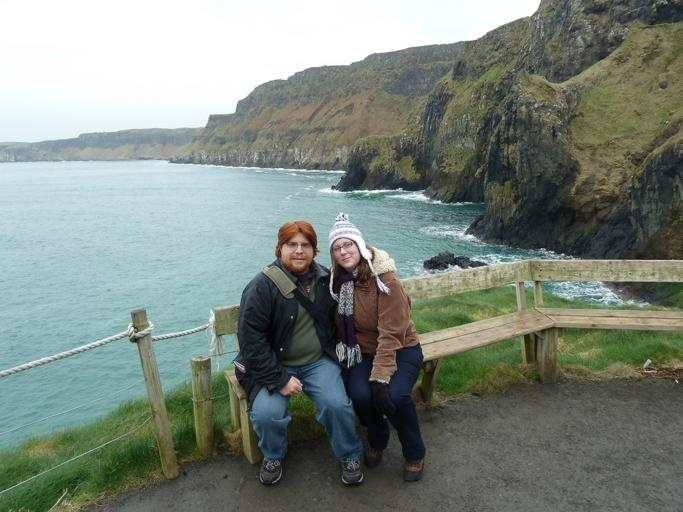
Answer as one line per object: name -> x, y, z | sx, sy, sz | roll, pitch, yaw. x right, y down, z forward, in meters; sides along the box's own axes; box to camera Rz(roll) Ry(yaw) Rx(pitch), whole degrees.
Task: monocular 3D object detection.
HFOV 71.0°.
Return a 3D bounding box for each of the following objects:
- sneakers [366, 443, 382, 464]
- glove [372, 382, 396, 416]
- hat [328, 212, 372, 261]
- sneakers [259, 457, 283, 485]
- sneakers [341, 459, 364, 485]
sneakers -> 0.406, 2.665, 6.367 | 0.119, 0.289, 0.267 | -5, 27, 2
glove -> 0.526, 1.833, 6.062 | 0.267, 0.467, 0.190 | -2, 14, -8
hat -> 0.032, -0.211, 6.656 | 0.581, 0.645, 0.615 | -18, -11, 16
sneakers -> -0.914, 2.786, 6.144 | 0.257, 0.292, 0.157 | 1, 14, 2
sneakers -> 0.129, 2.773, 6.092 | 0.165, 0.195, 0.416 | 0, -11, -6
